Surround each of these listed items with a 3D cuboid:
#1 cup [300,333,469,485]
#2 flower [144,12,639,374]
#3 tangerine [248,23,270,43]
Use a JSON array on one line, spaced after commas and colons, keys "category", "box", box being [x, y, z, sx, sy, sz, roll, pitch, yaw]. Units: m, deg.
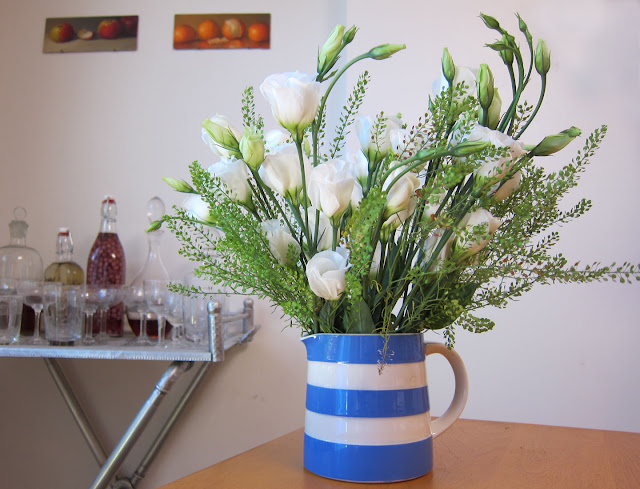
[{"category": "cup", "box": [0.078, 0.209, 0.679, 0.191, 0.173, 0.154, 4, -9, -17]}, {"category": "flower", "box": [0.096, -0.041, 0.932, 0.548, 0.675, 0.542, 7, 17, 10]}, {"category": "tangerine", "box": [-0.201, -0.692, 1.647, 0.058, 0.066, 0.064, 3, 21, 7]}]
